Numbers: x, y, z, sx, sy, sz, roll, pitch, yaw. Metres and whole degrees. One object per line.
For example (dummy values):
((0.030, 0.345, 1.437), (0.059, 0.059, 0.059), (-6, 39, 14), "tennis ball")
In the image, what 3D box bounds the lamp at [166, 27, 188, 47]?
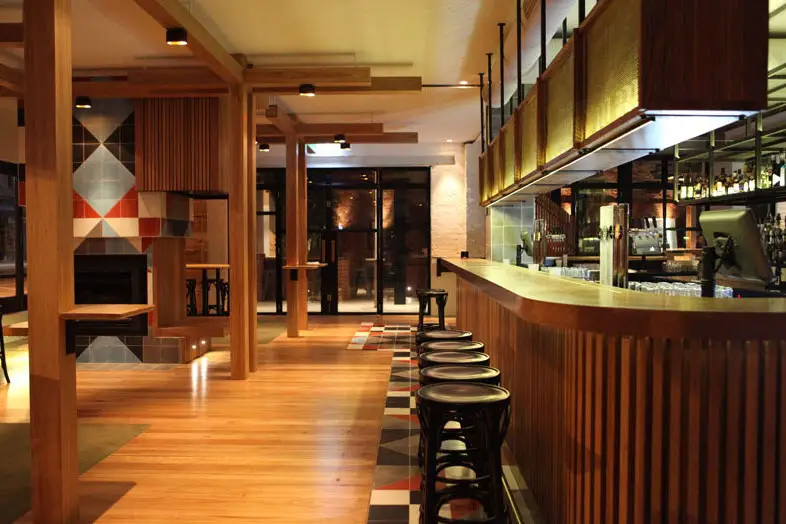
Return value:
((-2.024, -2.107, 6.417), (0.169, 0.109, 0.164), (1, 6, 1), "lamp")
